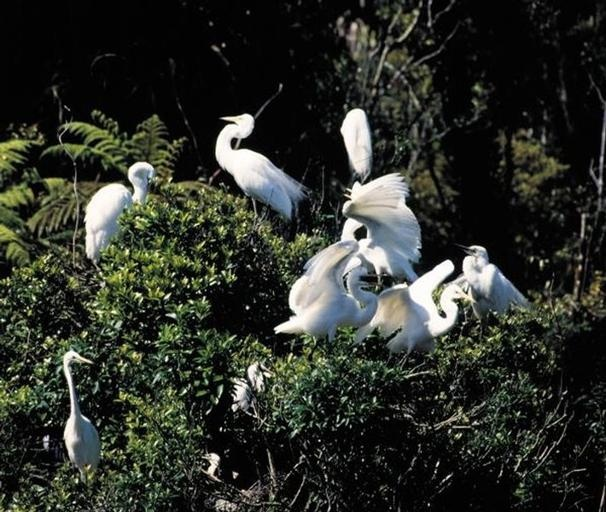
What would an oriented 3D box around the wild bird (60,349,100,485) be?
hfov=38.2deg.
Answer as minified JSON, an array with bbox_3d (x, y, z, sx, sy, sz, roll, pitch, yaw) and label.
[{"bbox_3d":[-1.945,1.429,7.707,0.314,1.183,0.267,-7,9,6],"label":"wild bird"}]

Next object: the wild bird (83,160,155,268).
[{"bbox_3d":[-2.043,-0.475,9.769,0.916,0.977,0.616,-16,11,-29],"label":"wild bird"}]

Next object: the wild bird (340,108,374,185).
[{"bbox_3d":[0.657,-1.243,9.728,0.153,0.781,0.428,-16,18,-31],"label":"wild bird"}]
